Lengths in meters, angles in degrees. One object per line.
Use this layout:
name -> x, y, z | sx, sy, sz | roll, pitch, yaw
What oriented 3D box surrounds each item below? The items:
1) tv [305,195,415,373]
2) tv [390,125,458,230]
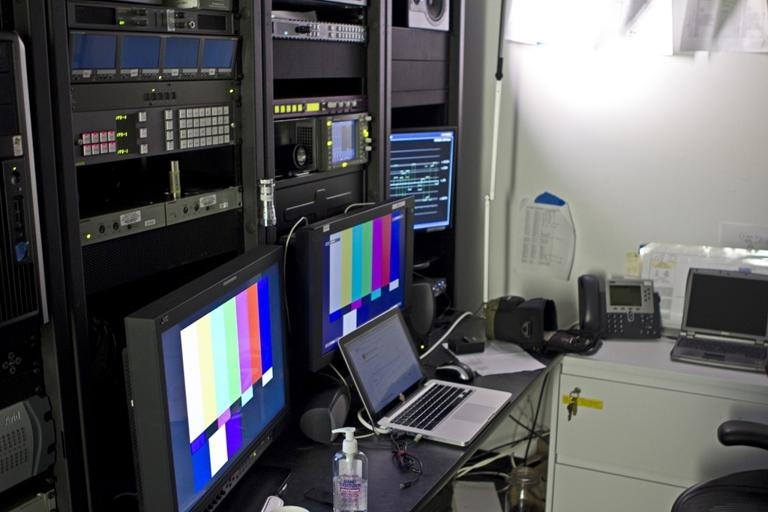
tv -> -0.101, 0.103, 2.070 | 0.055, 0.456, 0.637 | 7, 15, 27
tv -> 0.185, -0.398, 2.690 | 0.508, 0.537, 0.069 | -6, 13, -35
